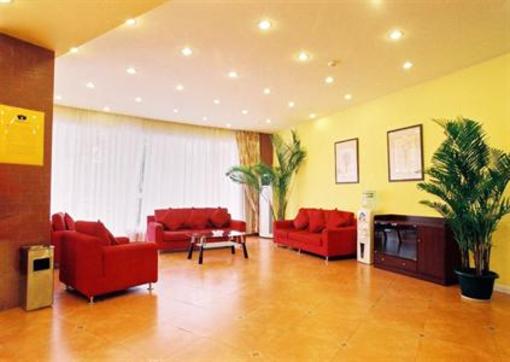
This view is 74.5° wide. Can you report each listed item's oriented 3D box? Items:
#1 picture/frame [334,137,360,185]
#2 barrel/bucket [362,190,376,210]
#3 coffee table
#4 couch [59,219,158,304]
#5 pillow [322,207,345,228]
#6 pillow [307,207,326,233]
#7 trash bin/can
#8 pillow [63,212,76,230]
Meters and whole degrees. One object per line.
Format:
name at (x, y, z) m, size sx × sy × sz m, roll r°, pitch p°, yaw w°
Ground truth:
picture/frame at (2.157, -0.447, 7.829) m, size 0.201 × 1.081 × 0.820 m, roll -3°, pitch 8°, yaw -21°
barrel/bucket at (2.348, 0.387, 6.952) m, size 0.313 × 0.374 × 0.346 m, roll 4°, pitch -8°, yaw -23°
coffee table at (-0.888, 1.474, 7.700) m, size 1.292 × 0.730 × 1.843 m, roll -1°, pitch 7°, yaw -6°
couch at (-2.304, 1.032, 5.344) m, size 1.172 × 1.209 × 1.315 m, roll 3°, pitch -3°, yaw -44°
pillow at (1.806, 0.878, 7.651) m, size 0.335 × 0.373 × 0.719 m, roll -2°, pitch 7°, yaw -13°
pillow at (1.489, 0.925, 8.013) m, size 0.144 × 0.456 × 0.483 m, roll 20°, pitch -30°, yaw -20°
trash bin/can at (-3.020, 1.316, 4.614) m, size 0.426 × 0.844 × 0.271 m, roll -6°, pitch 10°, yaw -37°
pillow at (-3.626, 0.812, 6.540) m, size 0.116 × 0.387 × 0.359 m, roll -15°, pitch -12°, yaw 5°
